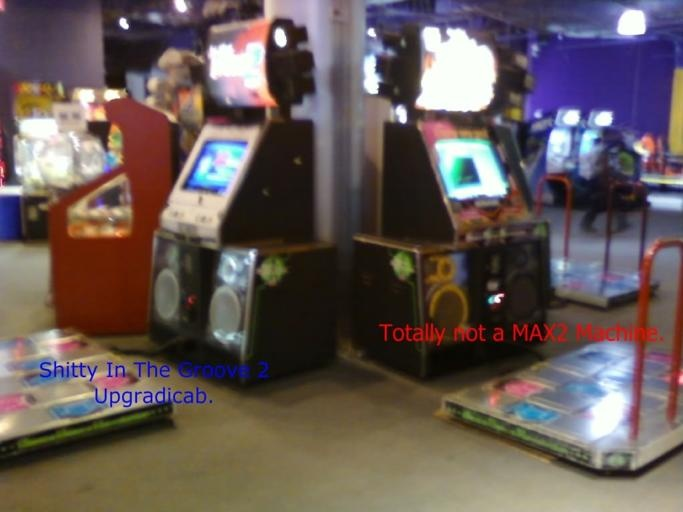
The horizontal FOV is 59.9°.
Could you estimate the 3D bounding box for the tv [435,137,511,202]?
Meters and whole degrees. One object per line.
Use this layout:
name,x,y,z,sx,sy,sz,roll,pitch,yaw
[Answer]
tv,0.823,-0.557,3.716,0.486,0.502,0.115,1,39,22

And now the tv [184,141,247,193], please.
tv,-0.757,-0.540,3.510,0.447,0.299,0.175,10,17,43
